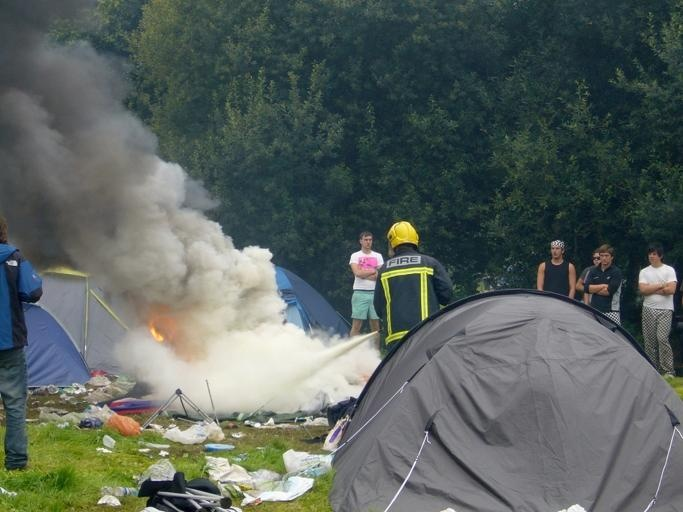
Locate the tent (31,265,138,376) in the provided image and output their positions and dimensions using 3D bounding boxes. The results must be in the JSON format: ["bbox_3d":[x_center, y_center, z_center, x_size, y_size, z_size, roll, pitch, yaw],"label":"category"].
[{"bbox_3d":[-4.891,1.253,25.262,1.790,0.984,1.825,4,6,20],"label":"tent"}]

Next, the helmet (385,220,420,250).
[{"bbox_3d":[0.965,-0.342,22.095,0.356,0.470,0.491,0,9,-7],"label":"helmet"}]

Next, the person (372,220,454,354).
[{"bbox_3d":[1.165,1.101,22.036,1.239,3.300,1.080,-1,-1,11],"label":"person"}]

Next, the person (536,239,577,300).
[{"bbox_3d":[4.159,0.303,26.074,0.748,1.388,0.394,3,29,12],"label":"person"}]
